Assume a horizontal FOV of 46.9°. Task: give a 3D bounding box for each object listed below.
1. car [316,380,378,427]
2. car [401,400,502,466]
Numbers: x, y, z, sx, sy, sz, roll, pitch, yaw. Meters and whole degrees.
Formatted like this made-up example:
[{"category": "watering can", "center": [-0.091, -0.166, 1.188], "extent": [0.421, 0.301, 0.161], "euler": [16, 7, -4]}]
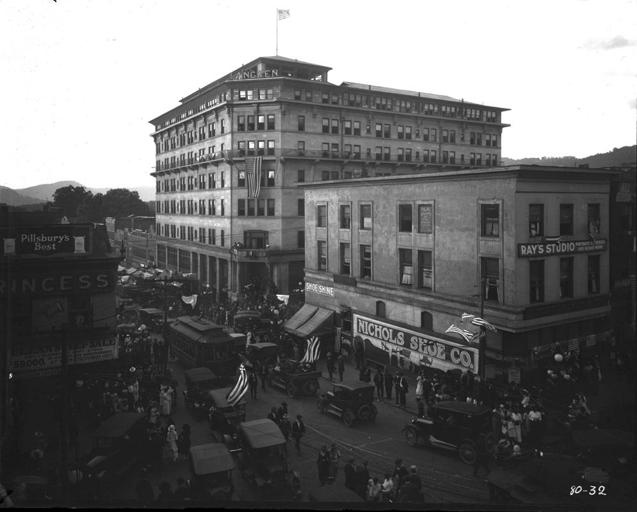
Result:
[{"category": "car", "center": [1.547, 7.991, 40.965], "extent": [2.006, 2.205, 3.551], "euler": [2, 3, -32]}, {"category": "car", "center": [6.539, 8.579, 36.152], "extent": [3.702, 2.483, 1.217], "euler": [7, 12, 28]}]
